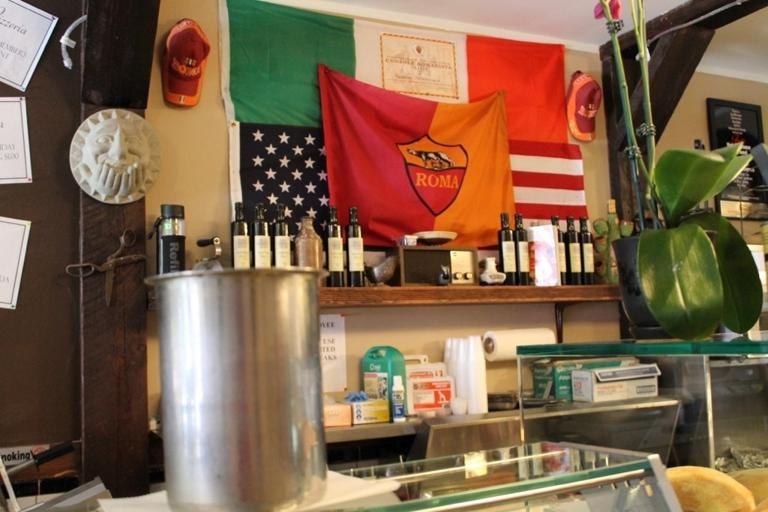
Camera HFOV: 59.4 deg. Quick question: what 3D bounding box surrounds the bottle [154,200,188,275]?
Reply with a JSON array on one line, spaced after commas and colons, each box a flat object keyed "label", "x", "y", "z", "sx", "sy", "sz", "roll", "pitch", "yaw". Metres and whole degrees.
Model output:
[{"label": "bottle", "x": -1.066, "y": -0.085, "z": 3.307, "sx": 0.163, "sy": 0.328, "sz": 0.173, "roll": -4, "pitch": -3, "yaw": 0}]

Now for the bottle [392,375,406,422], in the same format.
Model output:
[{"label": "bottle", "x": 0.079, "y": 0.758, "z": 3.583, "sx": 0.075, "sy": 0.228, "sz": 0.122, "roll": -4, "pitch": -3, "yaw": -3}]

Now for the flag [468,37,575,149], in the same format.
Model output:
[{"label": "flag", "x": 0.876, "y": -1.050, "z": 4.384, "sx": 0.792, "sy": 0.732, "sz": 0.081, "roll": 2, "pitch": -8, "yaw": -23}]

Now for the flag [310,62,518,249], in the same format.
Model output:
[{"label": "flag", "x": 0.143, "y": -0.565, "z": 4.014, "sx": 1.143, "sy": 0.931, "sz": 0.115, "roll": 4, "pitch": -13, "yaw": -28}]

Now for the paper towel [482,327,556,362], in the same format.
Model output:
[{"label": "paper towel", "x": 0.785, "y": 0.546, "z": 4.037, "sx": 0.387, "sy": 0.208, "sz": 0.390, "roll": -6, "pitch": -3, "yaw": 40}]

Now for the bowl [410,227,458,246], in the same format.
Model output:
[{"label": "bowl", "x": 0.297, "y": -0.099, "z": 3.884, "sx": 0.244, "sy": 0.084, "sz": 0.123, "roll": -4, "pitch": -3, "yaw": -4}]

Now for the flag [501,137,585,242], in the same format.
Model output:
[{"label": "flag", "x": 1.016, "y": -0.412, "z": 4.342, "sx": 0.704, "sy": 0.656, "sz": 0.055, "roll": -1, "pitch": 1, "yaw": -22}]

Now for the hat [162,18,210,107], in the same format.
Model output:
[{"label": "hat", "x": -1.086, "y": -1.015, "z": 3.627, "sx": 0.278, "sy": 0.458, "sz": 0.242, "roll": -3, "pitch": 22, "yaw": -27}]

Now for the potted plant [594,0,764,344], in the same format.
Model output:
[{"label": "potted plant", "x": 0.907, "y": -0.301, "z": 2.042, "sx": 0.413, "sy": 1.107, "sz": 0.429, "roll": -5, "pitch": -4, "yaw": 19}]

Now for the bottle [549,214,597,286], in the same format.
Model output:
[{"label": "bottle", "x": 1.216, "y": -0.028, "z": 4.236, "sx": 0.239, "sy": 0.427, "sz": 0.505, "roll": -5, "pitch": -3, "yaw": 18}]

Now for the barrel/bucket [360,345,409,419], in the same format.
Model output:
[{"label": "barrel/bucket", "x": 0.009, "y": 0.698, "z": 3.649, "sx": 0.161, "sy": 0.445, "sz": 0.281, "roll": 8, "pitch": -15, "yaw": -41}]

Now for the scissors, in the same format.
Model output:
[{"label": "scissors", "x": -1.339, "y": 0.060, "z": 3.282, "sx": 0.318, "sy": 0.364, "sz": 0.091, "roll": -2, "pitch": -4, "yaw": -26}]

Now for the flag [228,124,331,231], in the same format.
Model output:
[{"label": "flag", "x": -0.608, "y": -0.424, "z": 3.770, "sx": 0.602, "sy": 0.710, "sz": 0.050, "roll": 3, "pitch": -12, "yaw": -24}]
